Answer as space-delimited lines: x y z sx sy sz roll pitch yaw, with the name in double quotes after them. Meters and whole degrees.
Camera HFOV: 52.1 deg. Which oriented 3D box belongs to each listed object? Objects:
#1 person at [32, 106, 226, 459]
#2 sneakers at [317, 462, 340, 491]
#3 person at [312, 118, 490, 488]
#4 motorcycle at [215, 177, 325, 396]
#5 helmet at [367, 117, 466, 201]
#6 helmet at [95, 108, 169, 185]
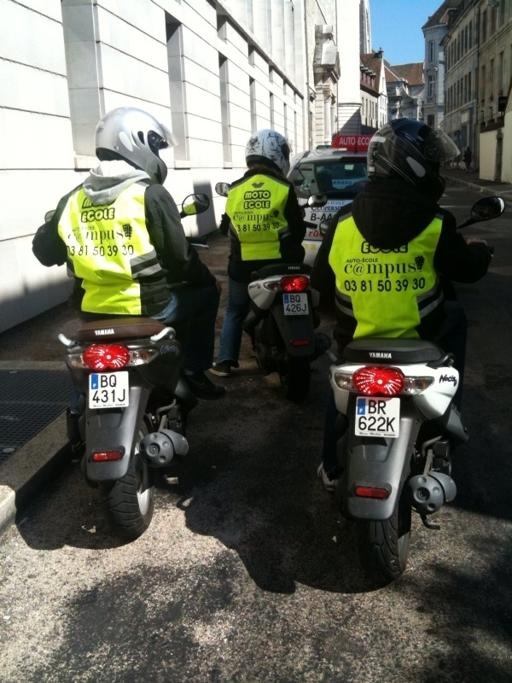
-0.643 -0.416 2.992 1.162 1.589 0.930 -1 21 -10 "person"
0.346 0.651 2.499 0.080 0.095 0.179 -2 11 3 "sneakers"
0.689 -0.131 2.384 0.798 1.555 0.728 -5 23 3 "person"
0.259 -0.347 4.542 0.737 1.180 1.749 -3 22 -1 "motorcycle"
0.646 -0.792 2.298 0.419 0.326 0.297 5 -4 -18 "helmet"
-0.658 -1.066 2.858 0.351 0.401 0.440 20 21 38 "helmet"
